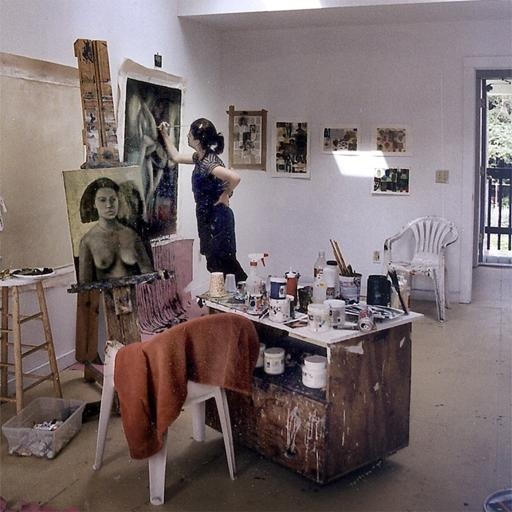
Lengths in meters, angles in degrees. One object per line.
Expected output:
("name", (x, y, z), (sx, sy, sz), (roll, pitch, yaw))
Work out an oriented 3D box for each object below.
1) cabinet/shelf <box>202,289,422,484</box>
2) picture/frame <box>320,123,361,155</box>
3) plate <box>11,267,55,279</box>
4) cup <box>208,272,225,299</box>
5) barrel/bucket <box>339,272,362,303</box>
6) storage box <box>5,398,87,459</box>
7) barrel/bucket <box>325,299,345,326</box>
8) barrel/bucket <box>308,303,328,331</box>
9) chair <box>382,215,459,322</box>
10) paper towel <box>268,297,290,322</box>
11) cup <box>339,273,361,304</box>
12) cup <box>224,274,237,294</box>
("cabinet/shelf", (0.308, 0.357, 2.219), (0.615, 0.707, 0.852), (-4, 7, -41))
("picture/frame", (0.853, -1.179, 4.764), (0.257, 0.236, 0.013), (2, 4, 15))
("plate", (-1.216, 0.088, 2.576), (0.235, 0.027, 0.198), (7, 12, 32))
("cup", (-0.195, 0.158, 2.504), (0.090, 0.128, 0.103), (1, -1, 1))
("barrel/bucket", (0.474, 0.167, 2.417), (0.111, 0.139, 0.102), (0, 1, 0))
("storage box", (-1.050, 0.784, 2.367), (0.207, 0.143, 0.304), (5, 8, 11))
("barrel/bucket", (0.342, 0.239, 2.030), (0.101, 0.105, 0.130), (0, 9, 0))
("barrel/bucket", (0.253, 0.248, 1.960), (0.076, 0.094, 0.088), (-1, 2, 3))
("chair", (1.436, 0.056, 4.109), (0.638, 1.014, 0.549), (9, 16, 40))
("paper towel", (0.100, 0.227, 2.115), (0.084, 0.099, 0.088), (1, 1, -34))
("cup", (0.463, 0.150, 2.409), (0.111, 0.137, 0.100), (2, 3, 29))
("cup", (-0.144, 0.146, 2.550), (0.072, 0.093, 0.073), (-1, 7, 0))
